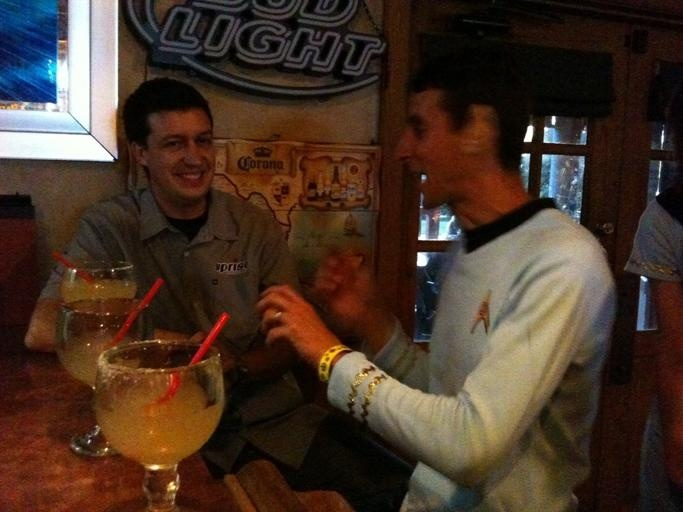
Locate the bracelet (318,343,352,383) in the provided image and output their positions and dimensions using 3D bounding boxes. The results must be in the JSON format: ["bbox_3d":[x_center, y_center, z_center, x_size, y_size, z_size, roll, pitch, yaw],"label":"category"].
[{"bbox_3d":[-0.016,0.316,1.712,0.099,0.102,0.104,9,0,-33],"label":"bracelet"}]

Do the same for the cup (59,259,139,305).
[{"bbox_3d":[-0.823,0.062,1.941,0.194,0.133,0.187,1,1,0],"label":"cup"}]
